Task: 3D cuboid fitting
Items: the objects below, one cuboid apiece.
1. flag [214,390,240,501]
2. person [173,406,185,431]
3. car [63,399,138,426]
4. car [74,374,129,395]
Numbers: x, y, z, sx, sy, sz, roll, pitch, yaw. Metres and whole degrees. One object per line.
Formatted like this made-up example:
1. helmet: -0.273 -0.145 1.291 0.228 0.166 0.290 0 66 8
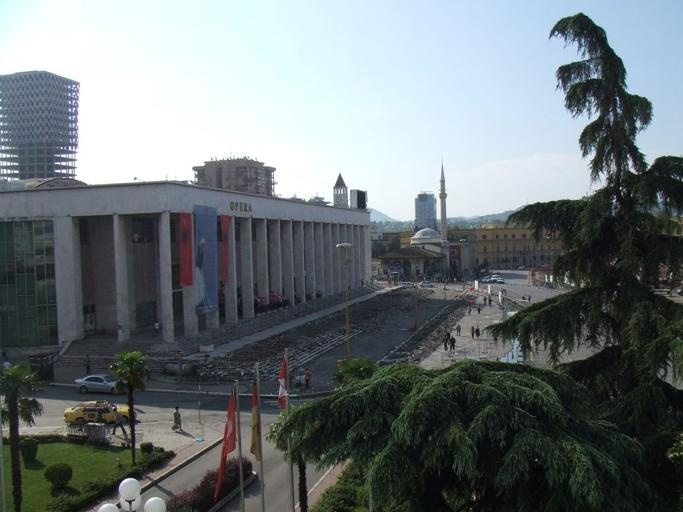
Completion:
1. flag: -4.401 7.044 25.565 0.701 5.147 0.554 1 32 -16
2. person: -9.230 9.095 36.987 0.576 1.254 2.792 -2 -4 -15
3. car: -13.760 8.735 36.549 2.882 1.073 1.857 -1 3 -4
4. car: -16.284 8.662 44.248 2.983 1.233 0.980 -5 -4 19
